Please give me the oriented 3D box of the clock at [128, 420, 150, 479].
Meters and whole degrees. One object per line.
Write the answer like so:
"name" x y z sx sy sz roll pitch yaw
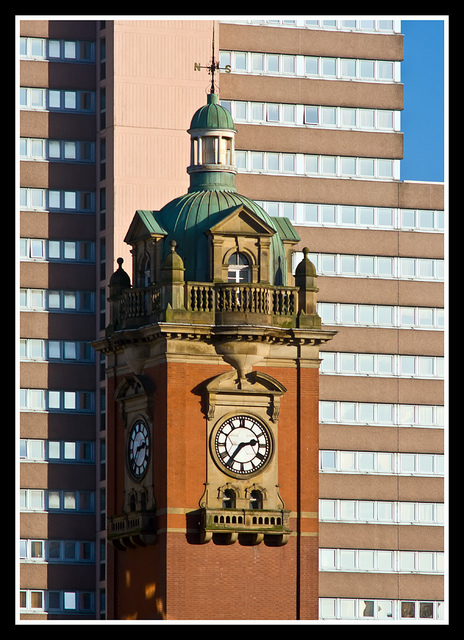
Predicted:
"clock" -3.128 4.314 81.986 0.112 2.059 1.653 3 -6 -31

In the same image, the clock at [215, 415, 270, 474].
"clock" 0.247 4.125 80.154 1.188 1.563 0.091 16 -21 -9
